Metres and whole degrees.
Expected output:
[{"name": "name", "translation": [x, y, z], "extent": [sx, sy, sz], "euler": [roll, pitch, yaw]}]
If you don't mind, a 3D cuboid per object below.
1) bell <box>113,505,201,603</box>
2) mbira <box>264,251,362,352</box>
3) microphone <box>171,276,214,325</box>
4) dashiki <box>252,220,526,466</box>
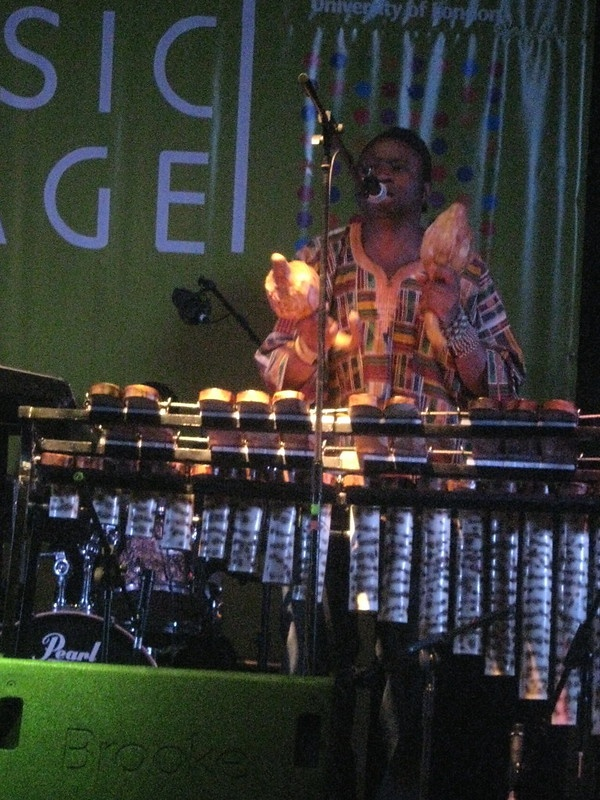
[{"name": "bell", "translation": [-0.490, 0.530, 3.884], "extent": [0.282, 0.308, 0.276], "euler": [-10, -30, 12]}, {"name": "mbira", "translation": [0.033, -0.256, 2.974], "extent": [0.123, 0.179, 0.425], "euler": [-15, -31, 12]}, {"name": "microphone", "translation": [-0.372, -0.318, 3.977], "extent": [0.123, 0.130, 0.138], "euler": [1, -10, -2]}, {"name": "dashiki", "translation": [0.251, -0.164, 3.344], "extent": [0.600, 0.637, 0.378], "euler": [8, -11, 9]}]
